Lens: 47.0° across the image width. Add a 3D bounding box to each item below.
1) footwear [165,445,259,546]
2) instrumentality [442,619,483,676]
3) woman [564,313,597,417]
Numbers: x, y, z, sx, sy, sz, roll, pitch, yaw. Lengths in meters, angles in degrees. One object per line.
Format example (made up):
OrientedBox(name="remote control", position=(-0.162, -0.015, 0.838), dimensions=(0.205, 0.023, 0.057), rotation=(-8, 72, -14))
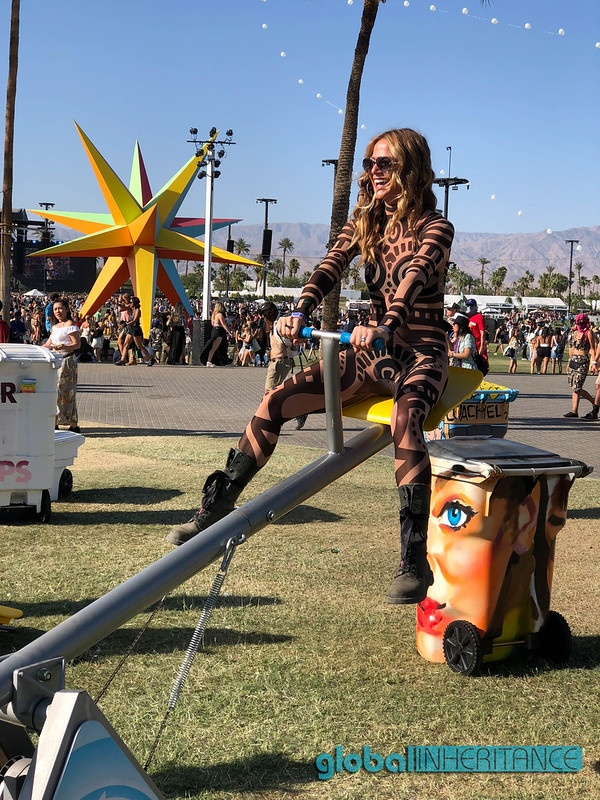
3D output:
OrientedBox(name="footwear", position=(-0.300, 0.374, 2.543), dimensions=(0.472, 0.306, 0.156), rotation=(-8, 3, -25))
OrientedBox(name="instrumentality", position=(0.761, 1.148, 3.200), dimensions=(0.041, 0.257, 0.241), rotation=(-4, 10, -36))
OrientedBox(name="woman", position=(6.225, -0.723, 15.272), dimensions=(0.606, 2.286, 1.889), rotation=(3, 3, 22))
